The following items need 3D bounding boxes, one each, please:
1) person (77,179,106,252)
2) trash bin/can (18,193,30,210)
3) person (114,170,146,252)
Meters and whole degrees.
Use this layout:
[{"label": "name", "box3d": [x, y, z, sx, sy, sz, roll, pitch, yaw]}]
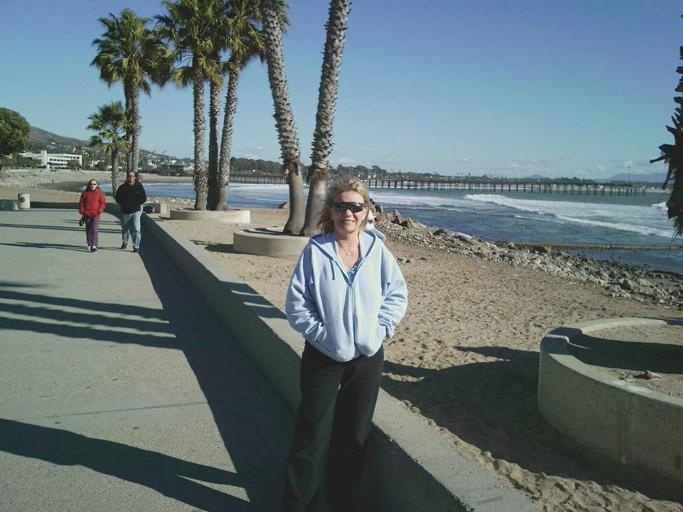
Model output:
[{"label": "person", "box3d": [-5.886, -0.971, 12.063, 0.477, 1.673, 1.175, 2, 11, -26]}, {"label": "trash bin/can", "box3d": [-16.366, -2.799, 26.347, 0.530, 0.658, 0.564, 2, 11, -26]}, {"label": "person", "box3d": [-4.932, -1.010, 11.926, 0.594, 1.898, 0.982, 2, 11, -24]}]
